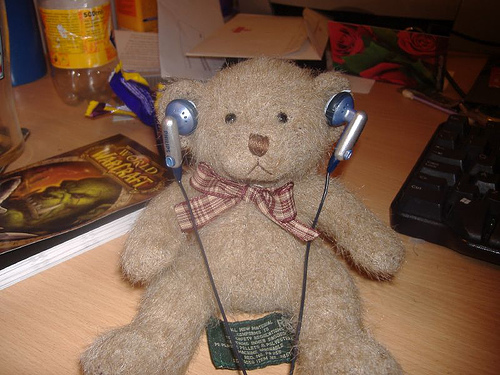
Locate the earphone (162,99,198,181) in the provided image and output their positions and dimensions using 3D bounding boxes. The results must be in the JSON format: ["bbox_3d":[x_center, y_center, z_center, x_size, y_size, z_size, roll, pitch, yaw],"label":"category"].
[{"bbox_3d":[-0.085,-0.061,0.538,0.041,0.081,0.082,-1,41,-6],"label":"earphone"}]

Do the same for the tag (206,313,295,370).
[{"bbox_3d":[0.001,0.189,0.533,0.104,0.019,0.073,-6,43,-12],"label":"tag"}]

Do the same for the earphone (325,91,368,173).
[{"bbox_3d":[0.136,-0.068,0.549,0.029,0.093,0.084,14,33,25],"label":"earphone"}]

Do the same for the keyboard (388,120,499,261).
[{"bbox_3d":[0.272,0.025,0.695,0.174,0.049,0.240,18,51,22],"label":"keyboard"}]

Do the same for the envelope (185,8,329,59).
[{"bbox_3d":[0.034,-0.313,0.905,0.240,0.038,0.265,3,36,7],"label":"envelope"}]

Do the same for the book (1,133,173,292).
[{"bbox_3d":[-0.238,0.039,0.678,0.247,0.044,0.172,-23,44,-27],"label":"book"}]

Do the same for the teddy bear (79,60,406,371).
[{"bbox_3d":[0.011,0.030,0.541,0.393,0.255,0.323,4,41,-1],"label":"teddy bear"}]
